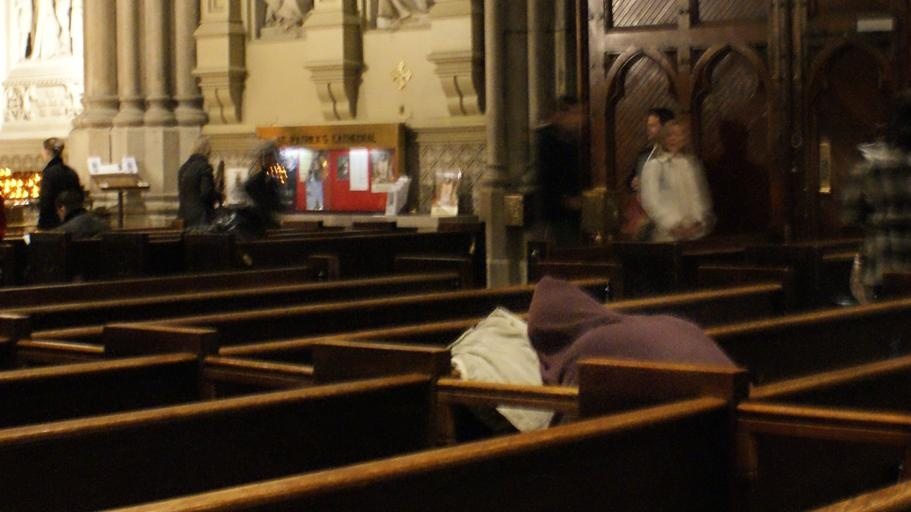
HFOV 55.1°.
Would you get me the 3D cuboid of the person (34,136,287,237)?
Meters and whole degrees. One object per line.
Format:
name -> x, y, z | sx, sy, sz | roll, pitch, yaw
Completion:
person -> -2.942, -0.683, 9.126 | 2.618, 0.939, 1.017 | 1, 0, 23
